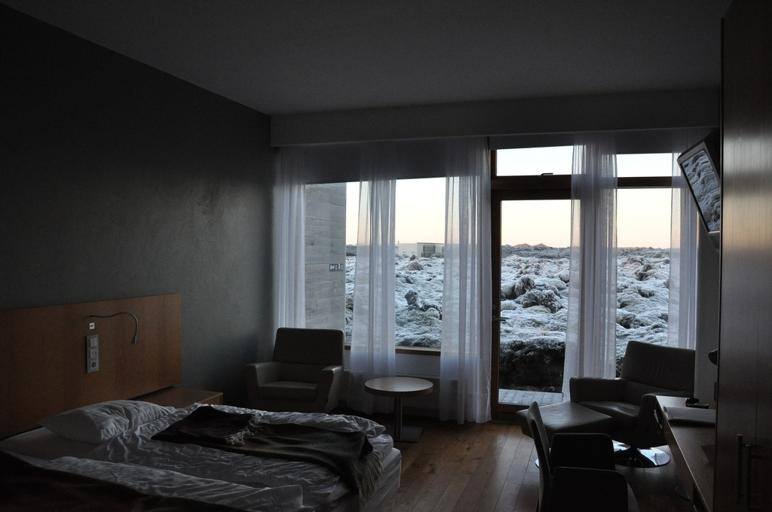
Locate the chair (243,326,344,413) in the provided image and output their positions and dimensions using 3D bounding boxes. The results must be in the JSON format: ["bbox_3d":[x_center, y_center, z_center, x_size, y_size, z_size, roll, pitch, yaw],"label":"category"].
[{"bbox_3d":[-1.014,1.315,6.035,1.066,0.888,0.821,2,-6,0],"label":"chair"}]

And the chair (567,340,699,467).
[{"bbox_3d":[2.423,1.443,5.127,1.015,1.084,0.991,3,-3,-43],"label":"chair"}]

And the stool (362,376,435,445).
[{"bbox_3d":[0.176,1.688,5.809,0.679,0.481,0.679,1,2,27],"label":"stool"}]

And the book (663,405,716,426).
[{"bbox_3d":[2.092,1.099,3.600,0.273,0.060,0.242,-2,-1,15],"label":"book"}]
